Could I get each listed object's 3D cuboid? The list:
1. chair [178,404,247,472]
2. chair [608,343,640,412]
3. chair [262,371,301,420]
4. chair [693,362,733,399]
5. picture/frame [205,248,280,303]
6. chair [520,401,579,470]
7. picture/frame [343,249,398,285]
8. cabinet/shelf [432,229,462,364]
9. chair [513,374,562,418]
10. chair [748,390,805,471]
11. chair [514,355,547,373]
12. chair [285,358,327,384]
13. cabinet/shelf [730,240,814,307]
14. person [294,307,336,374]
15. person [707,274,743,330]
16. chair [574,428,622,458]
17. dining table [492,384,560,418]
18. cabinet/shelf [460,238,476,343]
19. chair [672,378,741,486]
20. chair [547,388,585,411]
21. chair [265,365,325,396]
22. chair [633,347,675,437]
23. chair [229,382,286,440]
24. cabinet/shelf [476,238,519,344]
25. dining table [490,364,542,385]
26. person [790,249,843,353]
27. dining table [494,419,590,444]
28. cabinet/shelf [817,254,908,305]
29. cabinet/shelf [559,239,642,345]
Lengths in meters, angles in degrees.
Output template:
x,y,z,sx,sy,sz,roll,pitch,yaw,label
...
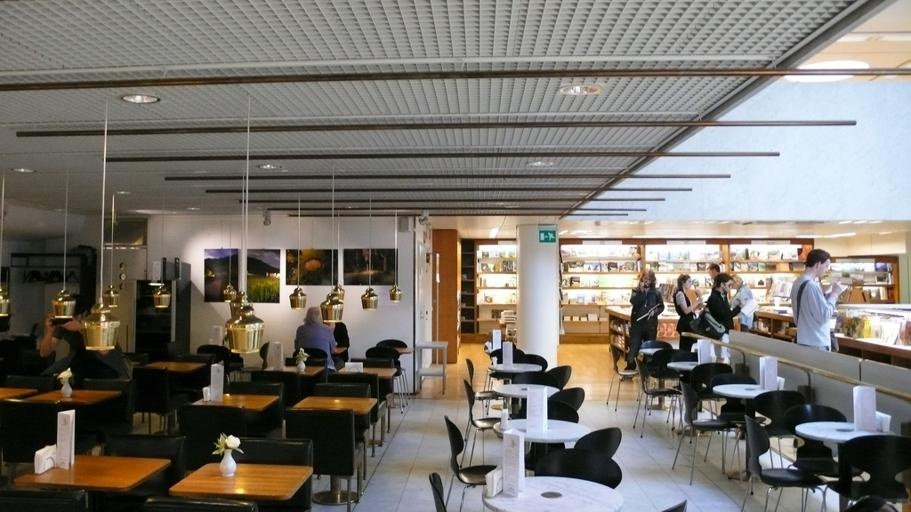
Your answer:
x,y,z,sx,sy,sz,roll,pitch,yaw,label
-3.219,2.342,8.717,0.881,0.785,0.894,0,-3,3,chair
3.929,2.595,14.412,1.075,1.297,0.914,-3,0,19,chair
-2.707,2.129,10.495,0.666,0.755,0.611,1,3,2,chair
4.147,2.031,10.917,0.704,0.768,0.620,-1,-8,10,chair
-4.244,0.357,13.328,1.406,0.813,0.021,0,0,8,picture/frame
1.250,2.404,8.967,0.981,0.581,0.887,0,-2,-5,chair
-1.820,0.232,13.954,1.343,0.789,0.024,-1,-3,26,picture/frame
-0.292,1.015,17.380,0.673,3.444,0.685,0,-1,-4,cabinet/shelf
1.248,2.106,10.190,0.727,0.538,0.662,-1,-15,12,chair
4.480,2.295,9.266,0.916,0.941,0.756,-1,-7,11,chair
1.379,1.938,12.083,0.419,0.352,0.351,0,-16,6,chair
-2.476,1.964,11.226,0.537,0.267,0.491,2,3,11,chair
9.644,0.383,20.161,0.769,1.769,2.235,0,4,-41,cabinet/shelf
-2.566,1.530,12.189,0.872,1.077,0.780,0,11,-11,person
5.126,0.878,12.660,0.599,1.109,1.166,-1,-1,24,person
1.791,2.293,8.290,0.442,0.483,0.508,4,0,25,chair
0.957,2.123,10.274,1.004,0.472,0.906,1,-5,-5,dining table
0.393,0.758,20.791,0.686,2.425,0.313,0,0,4,cabinet/shelf
3.805,2.655,9.987,0.740,0.962,0.664,14,0,-5,chair
1.601,2.016,9.613,0.439,0.389,0.384,2,-6,14,chair
-2.635,1.995,10.748,0.652,0.244,0.939,0,-1,5,chair
3.681,2.505,12.029,0.865,1.053,0.723,9,-11,2,chair
-2.854,2.254,9.796,0.852,0.886,0.766,-1,-9,8,chair
1.281,1.001,20.659,1.219,2.968,1.088,0,-1,-2,cabinet/shelf
1.053,1.993,11.263,0.603,0.345,0.546,1,-2,2,dining table
5.615,0.693,10.284,0.661,1.597,1.219,-1,-1,29,person
1.197,2.201,8.530,1.044,0.185,0.759,0,-1,8,dining table
10.191,0.605,16.311,1.652,1.246,0.490,0,-4,13,cabinet/shelf
4.593,1.203,20.935,2.638,2.110,0.800,-3,-11,11,cabinet/shelf
